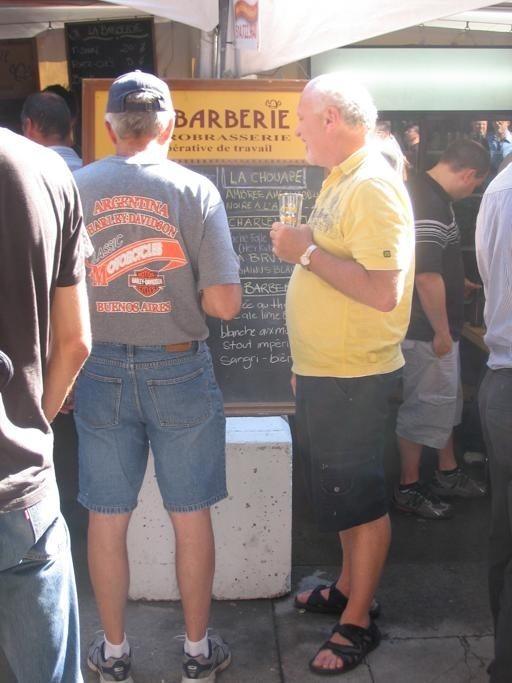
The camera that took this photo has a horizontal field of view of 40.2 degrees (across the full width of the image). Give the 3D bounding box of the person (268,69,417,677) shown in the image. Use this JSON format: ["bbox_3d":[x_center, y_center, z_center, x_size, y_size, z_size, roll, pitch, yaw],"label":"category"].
[{"bbox_3d":[0.276,0.109,2.338,0.458,1.954,0.465,2,10,12],"label":"person"}]

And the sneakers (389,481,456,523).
[{"bbox_3d":[0.869,0.841,3.699,0.344,0.153,0.133,5,15,31],"label":"sneakers"}]

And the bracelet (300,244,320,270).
[{"bbox_3d":[0.166,-0.268,2.212,0.038,0.078,0.082,-5,10,-28],"label":"bracelet"}]

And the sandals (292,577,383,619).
[{"bbox_3d":[0.322,0.990,2.718,0.291,0.101,0.130,3,1,2],"label":"sandals"}]

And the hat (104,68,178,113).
[{"bbox_3d":[-0.345,-0.747,2.051,0.139,0.099,0.170,-4,26,-6],"label":"hat"}]

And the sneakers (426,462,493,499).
[{"bbox_3d":[1.127,0.789,3.907,0.358,0.158,0.125,3,10,6],"label":"sneakers"}]

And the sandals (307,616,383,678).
[{"bbox_3d":[0.309,1.028,2.389,0.108,0.091,0.275,1,7,42],"label":"sandals"}]
